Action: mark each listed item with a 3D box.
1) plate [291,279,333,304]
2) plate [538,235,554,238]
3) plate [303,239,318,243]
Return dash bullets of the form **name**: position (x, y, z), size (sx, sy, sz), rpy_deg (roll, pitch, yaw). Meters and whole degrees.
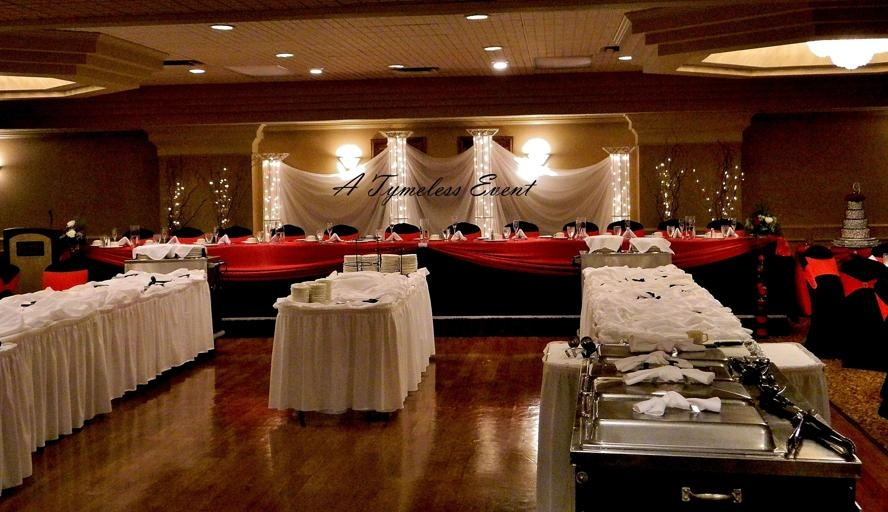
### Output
- **plate**: position (-1.284, 0.349, 5.694), size (0.347, 0.126, 0.222), rpy_deg (0, 1, -4)
- **plate**: position (1.793, -0.336, 10.228), size (0.209, 0.038, 0.187), rpy_deg (0, -1, -1)
- **plate**: position (-2.152, -0.233, 9.297), size (0.161, 0.033, 0.144), rpy_deg (0, -1, -1)
